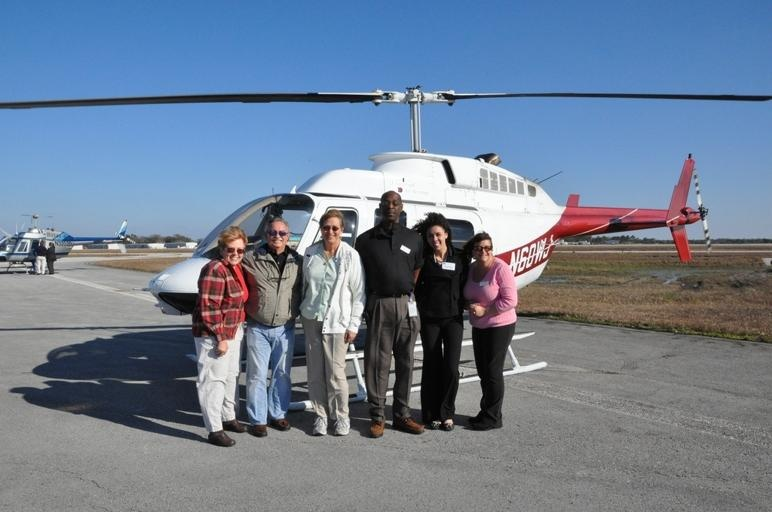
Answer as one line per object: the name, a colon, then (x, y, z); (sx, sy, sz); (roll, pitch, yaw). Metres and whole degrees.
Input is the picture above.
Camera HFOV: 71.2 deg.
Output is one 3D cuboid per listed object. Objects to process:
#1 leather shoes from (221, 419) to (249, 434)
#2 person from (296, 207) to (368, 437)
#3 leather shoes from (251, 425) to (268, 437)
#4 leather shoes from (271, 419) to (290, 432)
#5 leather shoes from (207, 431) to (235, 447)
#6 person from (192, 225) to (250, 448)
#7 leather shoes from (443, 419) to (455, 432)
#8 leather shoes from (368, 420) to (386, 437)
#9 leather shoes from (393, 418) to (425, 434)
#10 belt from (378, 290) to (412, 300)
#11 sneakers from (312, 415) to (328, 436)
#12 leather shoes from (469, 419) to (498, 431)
leather shoes: (-1.716, 1.919, 6.065); (0.311, 0.191, 0.110); (-2, 9, -13)
person: (-0.614, 0.743, 6.035); (0.725, 2.487, 0.494); (0, 10, 1)
leather shoes: (-1.417, 1.942, 6.003); (0.085, 0.084, 0.225); (2, -10, -28)
leather shoes: (-1.198, 1.922, 6.164); (0.256, 0.098, 0.093); (-7, -8, 40)
leather shoes: (-1.794, 1.959, 5.830); (0.257, 0.105, 0.144); (0, -1, 22)
person: (-1.834, 0.865, 5.862); (0.518, 2.280, 0.598); (1, 10, 5)
leather shoes: (0.705, 1.937, 6.170); (0.112, 0.056, 0.233); (0, -7, 4)
leather shoes: (-0.116, 1.914, 6.057); (0.179, 0.176, 0.222); (0, 9, -1)
leather shoes: (0.237, 1.927, 6.183); (0.381, 0.146, 0.140); (-1, 2, 25)
belt: (0.084, 0.426, 6.015); (0.403, 0.081, 0.069); (-2, 10, -13)
sneakers: (-0.747, 1.904, 6.060); (0.146, 0.134, 0.358); (0, -16, -4)
leather shoes: (1.106, 1.937, 6.197); (0.318, 0.115, 0.113); (3, 5, 2)
